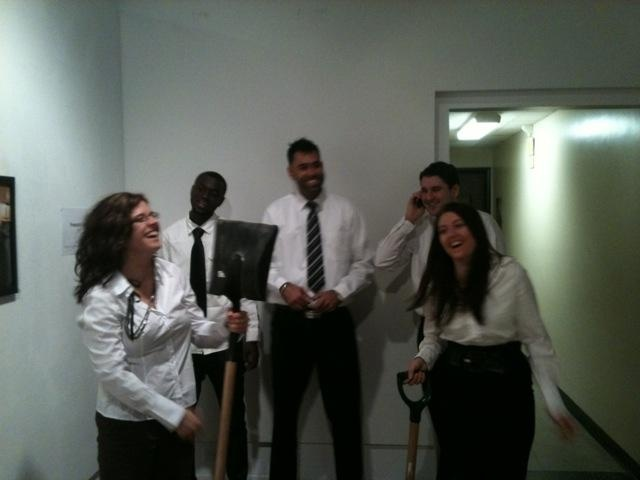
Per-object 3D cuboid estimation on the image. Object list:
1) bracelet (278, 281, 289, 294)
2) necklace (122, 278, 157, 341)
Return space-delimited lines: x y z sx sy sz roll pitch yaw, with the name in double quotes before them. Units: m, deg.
"bracelet" -0.214 0.284 3.124 0.023 0.063 0.043 38 -6 -28
"necklace" -0.841 0.353 2.472 0.125 0.217 0.036 16 -25 -39
